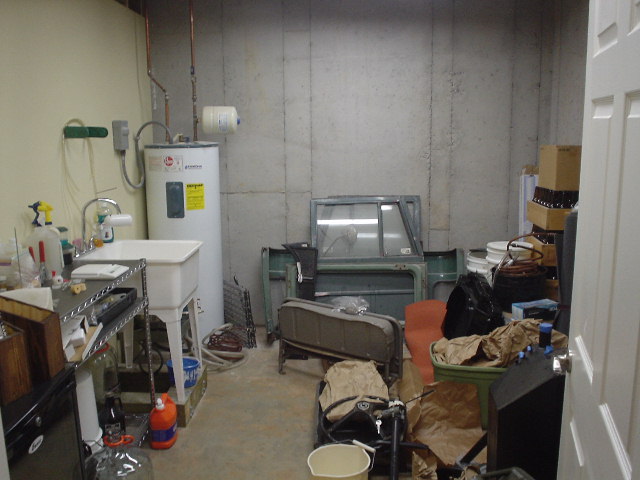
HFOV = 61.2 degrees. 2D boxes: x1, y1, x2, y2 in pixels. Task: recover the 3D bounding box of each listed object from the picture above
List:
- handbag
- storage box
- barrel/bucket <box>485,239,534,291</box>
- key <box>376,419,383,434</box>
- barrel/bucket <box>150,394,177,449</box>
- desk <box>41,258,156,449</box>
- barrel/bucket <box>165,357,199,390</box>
[{"bbox_3d":[1.152,0.546,4.112,0.317,0.483,0.463,-7,12,-29],"label":"handbag"},{"bbox_3d":[0.934,0.941,3.374,0.422,0.307,0.340,0,0,6],"label":"storage box"},{"bbox_3d":[1.492,0.141,4.273,0.356,0.382,0.375,-2,13,1],"label":"barrel/bucket"},{"bbox_3d":[0.354,1.131,3.274,0.030,0.091,0.057,4,12,28],"label":"key"},{"bbox_3d":[-1.069,1.236,3.687,0.216,0.326,0.190,-11,15,-35],"label":"barrel/bucket"},{"bbox_3d":[-1.324,0.667,3.217,0.337,1.051,1.059,-1,9,-1],"label":"desk"},{"bbox_3d":[-1.029,0.984,4.067,0.222,0.178,0.230,1,5,0],"label":"barrel/bucket"}]
